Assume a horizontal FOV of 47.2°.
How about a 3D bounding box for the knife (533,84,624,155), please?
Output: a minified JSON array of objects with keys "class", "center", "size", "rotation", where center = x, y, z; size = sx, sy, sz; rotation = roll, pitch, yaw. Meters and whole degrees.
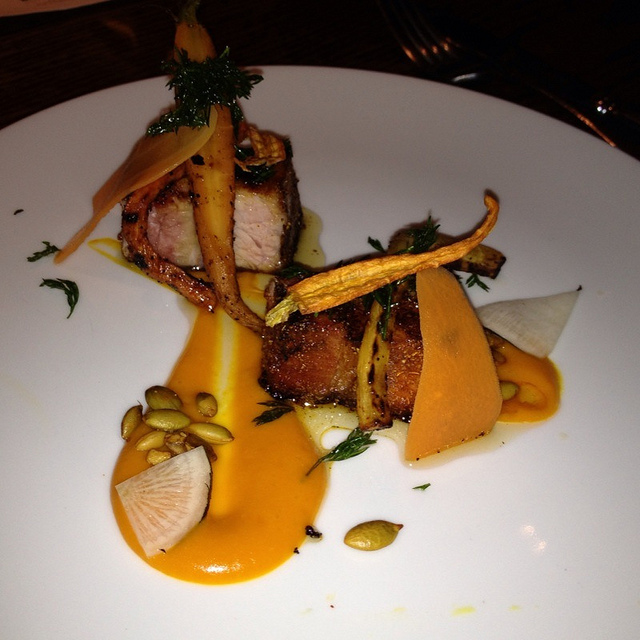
[{"class":"knife","center":[1.005,-0.840,2.944],"size":[0.053,0.091,0.383],"rotation":[-3,34,-46]}]
